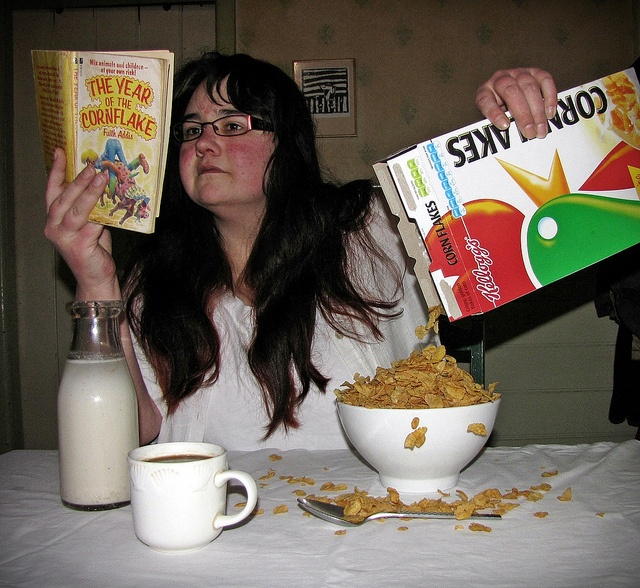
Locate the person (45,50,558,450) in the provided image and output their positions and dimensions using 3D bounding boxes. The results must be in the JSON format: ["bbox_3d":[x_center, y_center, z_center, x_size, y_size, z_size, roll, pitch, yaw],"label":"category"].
[{"bbox_3d":[-0.178,0.231,1.686,0.970,1.861,0.512,3,38,-4],"label":"person"}]

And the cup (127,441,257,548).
[{"bbox_3d":[-0.151,0.228,0.699,0.140,0.098,0.099,0,1,14],"label":"cup"}]

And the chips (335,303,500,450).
[{"bbox_3d":[0.119,0.119,0.786,0.144,0.090,0.161,-6,-6,26],"label":"chips"}]

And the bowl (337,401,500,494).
[{"bbox_3d":[0.138,0.190,0.857,0.210,0.136,0.157,1,3,-20],"label":"bowl"}]

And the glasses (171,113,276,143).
[{"bbox_3d":[-0.213,-0.373,1.291,0.213,0.059,0.076,-1,1,-1],"label":"glasses"}]

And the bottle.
[{"bbox_3d":[-0.308,0.148,0.801,0.100,0.277,0.103,-2,-1,0],"label":"bottle"}]

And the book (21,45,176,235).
[{"bbox_3d":[-0.339,-0.259,0.923,0.271,0.271,0.068,0,23,4],"label":"book"}]
